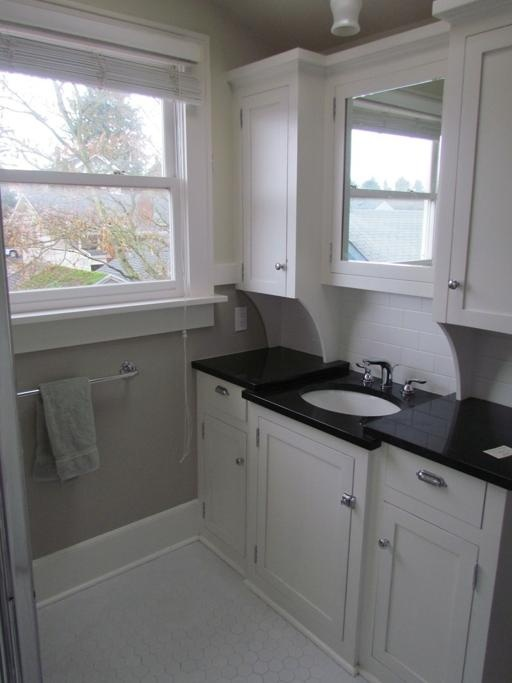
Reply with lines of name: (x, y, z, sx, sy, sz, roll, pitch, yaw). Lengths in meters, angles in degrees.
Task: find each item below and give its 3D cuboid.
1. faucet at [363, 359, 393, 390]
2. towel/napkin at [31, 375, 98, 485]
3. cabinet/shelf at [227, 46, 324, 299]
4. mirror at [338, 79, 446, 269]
faucet: (0.468, 0.119, 1.942, 0.077, 0.109, 0.123, 9, 14, 41)
towel/napkin: (-0.695, 0.331, 1.881, 0.233, 0.405, 0.112, -6, 12, -27)
cabinet/shelf: (0.063, -0.622, 2.037, 0.450, 0.877, 0.192, 9, 14, 39)
mirror: (0.458, -0.570, 1.703, 0.069, 0.689, 0.551, -5, 15, -24)
